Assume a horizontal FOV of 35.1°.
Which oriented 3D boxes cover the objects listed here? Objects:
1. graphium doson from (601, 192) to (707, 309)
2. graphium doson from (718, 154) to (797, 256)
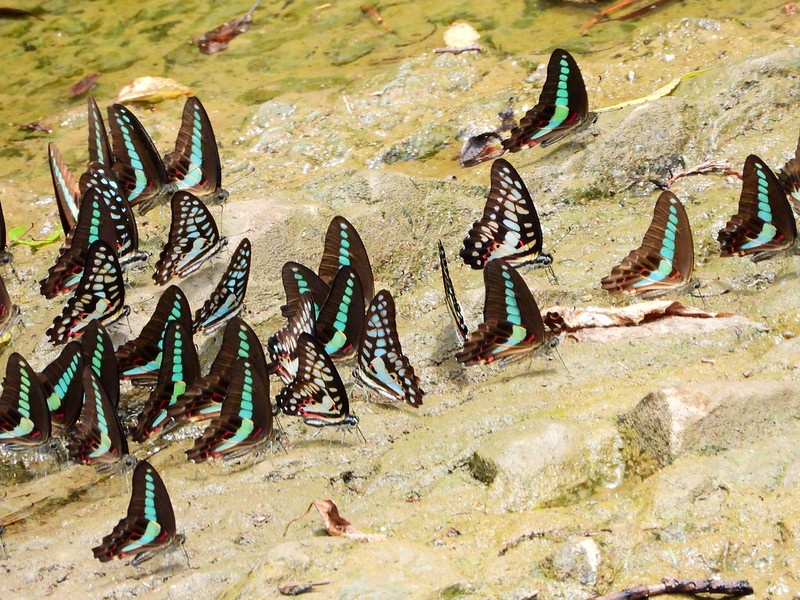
[{"bbox_3d":[2.312,-0.521,11.880,0.803,0.984,0.396,-8,31,14],"label":"graphium doson"},{"bbox_3d":[3.428,-0.869,12.139,0.734,0.725,0.864,-29,-22,27],"label":"graphium doson"}]
